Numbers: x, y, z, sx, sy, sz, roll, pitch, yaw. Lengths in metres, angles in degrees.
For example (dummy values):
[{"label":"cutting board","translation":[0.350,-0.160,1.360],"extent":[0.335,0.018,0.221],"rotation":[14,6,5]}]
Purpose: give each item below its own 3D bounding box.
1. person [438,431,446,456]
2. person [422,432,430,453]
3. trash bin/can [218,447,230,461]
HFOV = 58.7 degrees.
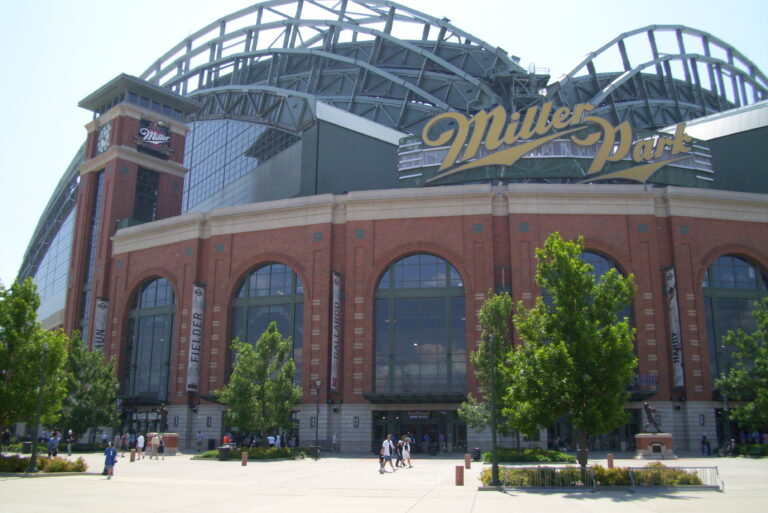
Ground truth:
[{"label":"person","translation":[5.736,18.218,66.715],"extent":[0.640,1.787,0.258],"rotation":[-1,-18,0]},{"label":"person","translation":[4.109,18.271,66.777],"extent":[0.741,1.871,1.001],"rotation":[-4,-18,10]},{"label":"trash bin/can","translation":[-13.444,16.746,57.855],"extent":[1.036,0.863,1.009],"rotation":[1,-11,2]}]
